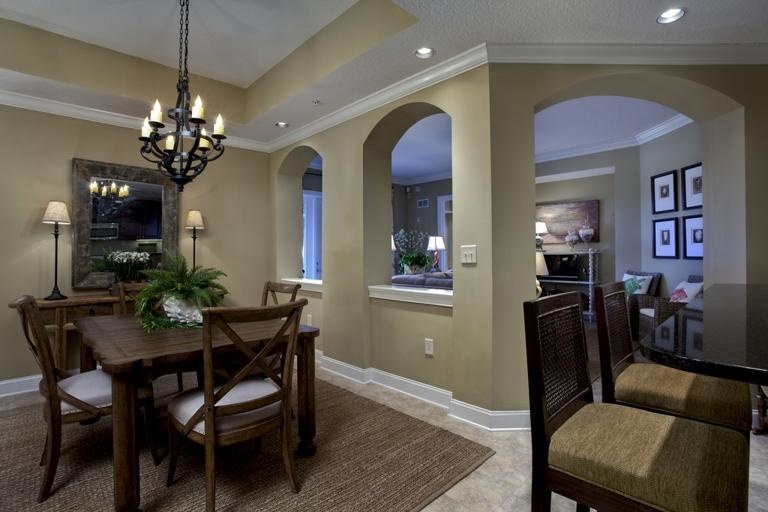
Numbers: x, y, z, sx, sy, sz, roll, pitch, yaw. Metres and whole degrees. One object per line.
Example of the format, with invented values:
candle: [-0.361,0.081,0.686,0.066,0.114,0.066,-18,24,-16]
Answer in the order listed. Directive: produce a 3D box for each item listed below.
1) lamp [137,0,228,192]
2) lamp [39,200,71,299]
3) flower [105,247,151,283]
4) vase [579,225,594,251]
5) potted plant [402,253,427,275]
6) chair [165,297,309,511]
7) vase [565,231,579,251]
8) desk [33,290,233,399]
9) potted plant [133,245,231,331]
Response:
lamp: [-1.972,-1.478,4.675,0.795,1.761,2.120,-3,2,-21]
lamp: [-3.422,-0.079,5.076,0.255,1.032,0.396,-3,3,-32]
flower: [-2.895,0.105,5.423,0.256,0.276,0.373,-2,-4,24]
vase: [3.349,-0.291,8.020,0.200,0.408,0.328,-3,3,-23]
potted plant: [0.573,0.125,8.581,0.370,0.360,0.374,0,1,-23]
chair: [-1.133,1.071,3.717,0.969,1.472,0.846,-3,3,-26]
vase: [3.193,-0.262,8.204,0.201,0.335,0.323,-1,3,22]
desk: [-2.040,0.711,3.921,1.106,0.951,0.353,0,-2,-45]
potted plant: [-1.769,0.233,4.231,0.686,0.531,0.689,0,1,-19]
